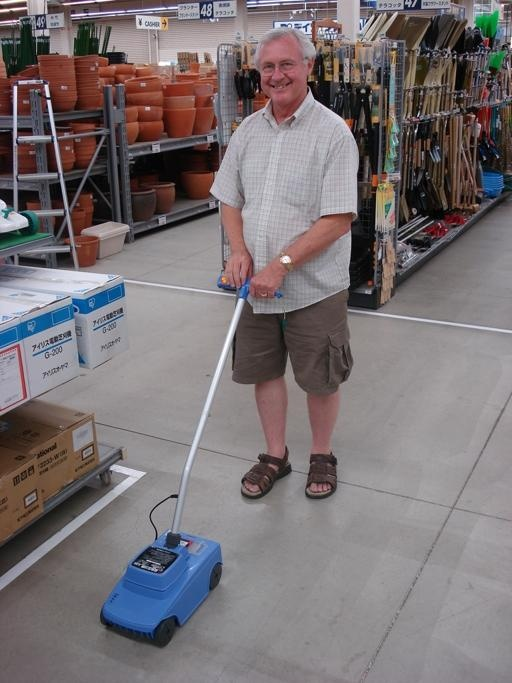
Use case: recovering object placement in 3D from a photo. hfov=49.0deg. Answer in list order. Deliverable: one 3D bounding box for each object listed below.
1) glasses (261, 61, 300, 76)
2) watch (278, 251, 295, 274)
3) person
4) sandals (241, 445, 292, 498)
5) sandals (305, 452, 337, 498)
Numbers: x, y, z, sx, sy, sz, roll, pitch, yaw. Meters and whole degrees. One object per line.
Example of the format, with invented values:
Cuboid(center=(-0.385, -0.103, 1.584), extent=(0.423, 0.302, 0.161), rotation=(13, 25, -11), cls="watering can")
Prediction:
Cuboid(center=(0.059, -0.799, 1.654), extent=(0.125, 0.039, 0.046), rotation=(7, 18, 27), cls="glasses")
Cuboid(center=(0.099, -0.233, 1.675), extent=(0.035, 0.049, 0.018), rotation=(-8, 15, -1), cls="watch")
Cuboid(center=(0.108, -0.184, 1.934), extent=(0.477, 1.567, 0.470), rotation=(-3, 16, -4), cls="person")
Cuboid(center=(0.045, 0.509, 2.182), extent=(0.088, 0.102, 0.233), rotation=(2, 12, 30), cls="sandals")
Cuboid(center=(0.249, 0.510, 2.120), extent=(0.078, 0.087, 0.192), rotation=(-1, 12, 7), cls="sandals")
